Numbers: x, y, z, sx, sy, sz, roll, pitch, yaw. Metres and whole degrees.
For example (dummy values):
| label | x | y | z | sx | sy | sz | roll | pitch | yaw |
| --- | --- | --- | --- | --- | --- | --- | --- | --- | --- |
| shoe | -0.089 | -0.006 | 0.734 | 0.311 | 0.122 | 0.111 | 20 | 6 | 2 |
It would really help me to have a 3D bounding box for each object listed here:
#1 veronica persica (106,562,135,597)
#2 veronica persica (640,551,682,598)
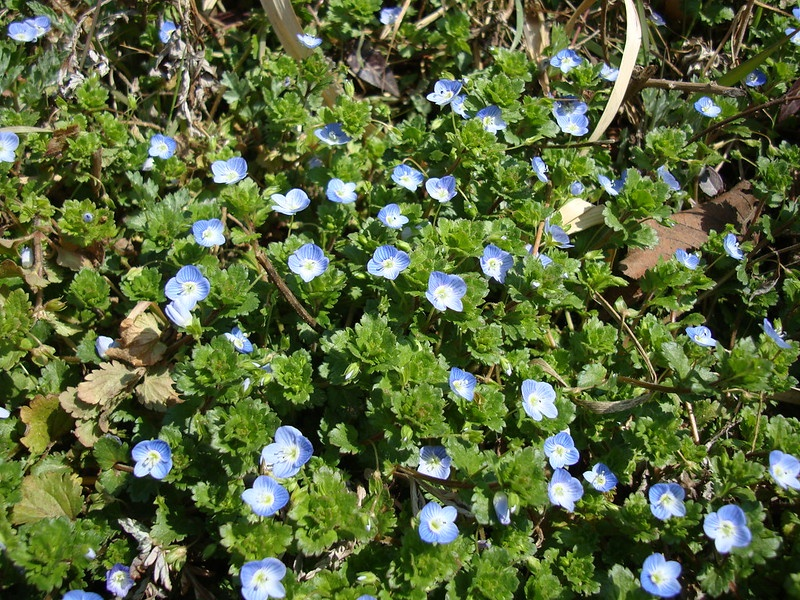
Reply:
| label | x | y | z | sx | sy | sz | roll | pitch | yaw |
| --- | --- | --- | --- | --- | --- | --- | --- | --- | --- |
| veronica persica | -1.307 | 1.291 | 3.492 | 0.130 | 0.055 | 0.135 | 46 | 34 | -18 |
| veronica persica | 1.156 | 1.234 | 3.380 | 0.168 | 0.122 | 0.197 | -17 | 67 | -8 |
